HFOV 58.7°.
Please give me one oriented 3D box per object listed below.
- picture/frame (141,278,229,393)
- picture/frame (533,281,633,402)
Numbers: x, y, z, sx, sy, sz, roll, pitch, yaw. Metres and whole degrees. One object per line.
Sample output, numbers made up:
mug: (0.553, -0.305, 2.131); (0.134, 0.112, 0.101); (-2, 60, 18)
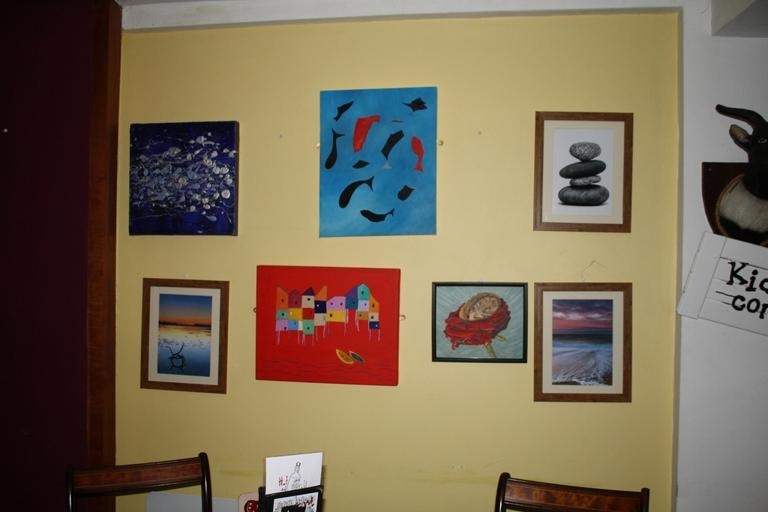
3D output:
picture/frame: (-1.279, 0.532, 4.459); (0.649, 0.872, 0.041); (2, 0, 1)
picture/frame: (1.276, 0.557, 4.303); (0.677, 0.907, 0.044); (1, -1, -3)
